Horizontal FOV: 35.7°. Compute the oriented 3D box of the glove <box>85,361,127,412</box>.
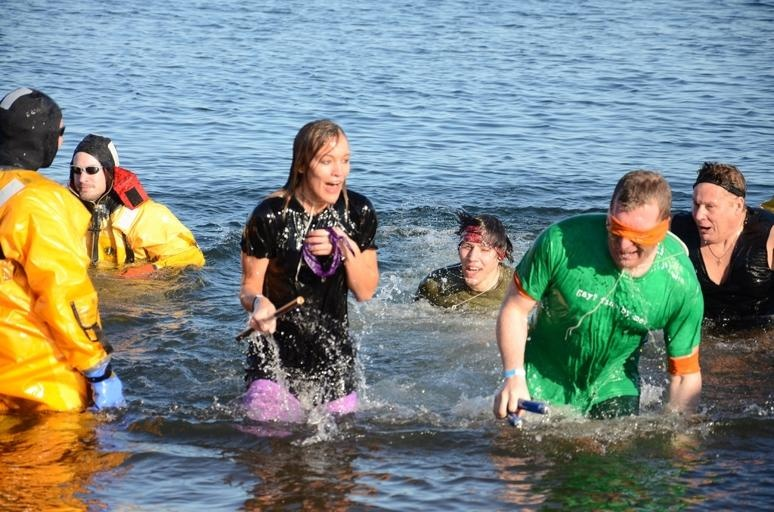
[{"bbox_3d":[-2.968,1.387,12.573,0.390,0.583,0.444,-16,19,-8],"label":"glove"}]

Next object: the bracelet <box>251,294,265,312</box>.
[{"bbox_3d":[-1.286,0.468,12.141,0.163,0.132,0.149,0,-2,3],"label":"bracelet"}]

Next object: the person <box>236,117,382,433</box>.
[{"bbox_3d":[-0.808,0.204,12.436,1.398,3.200,0.510,0,9,-4],"label":"person"}]

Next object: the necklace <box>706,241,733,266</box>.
[{"bbox_3d":[3.968,-0.008,14.335,0.306,0.223,0.108,1,-5,6],"label":"necklace"}]
